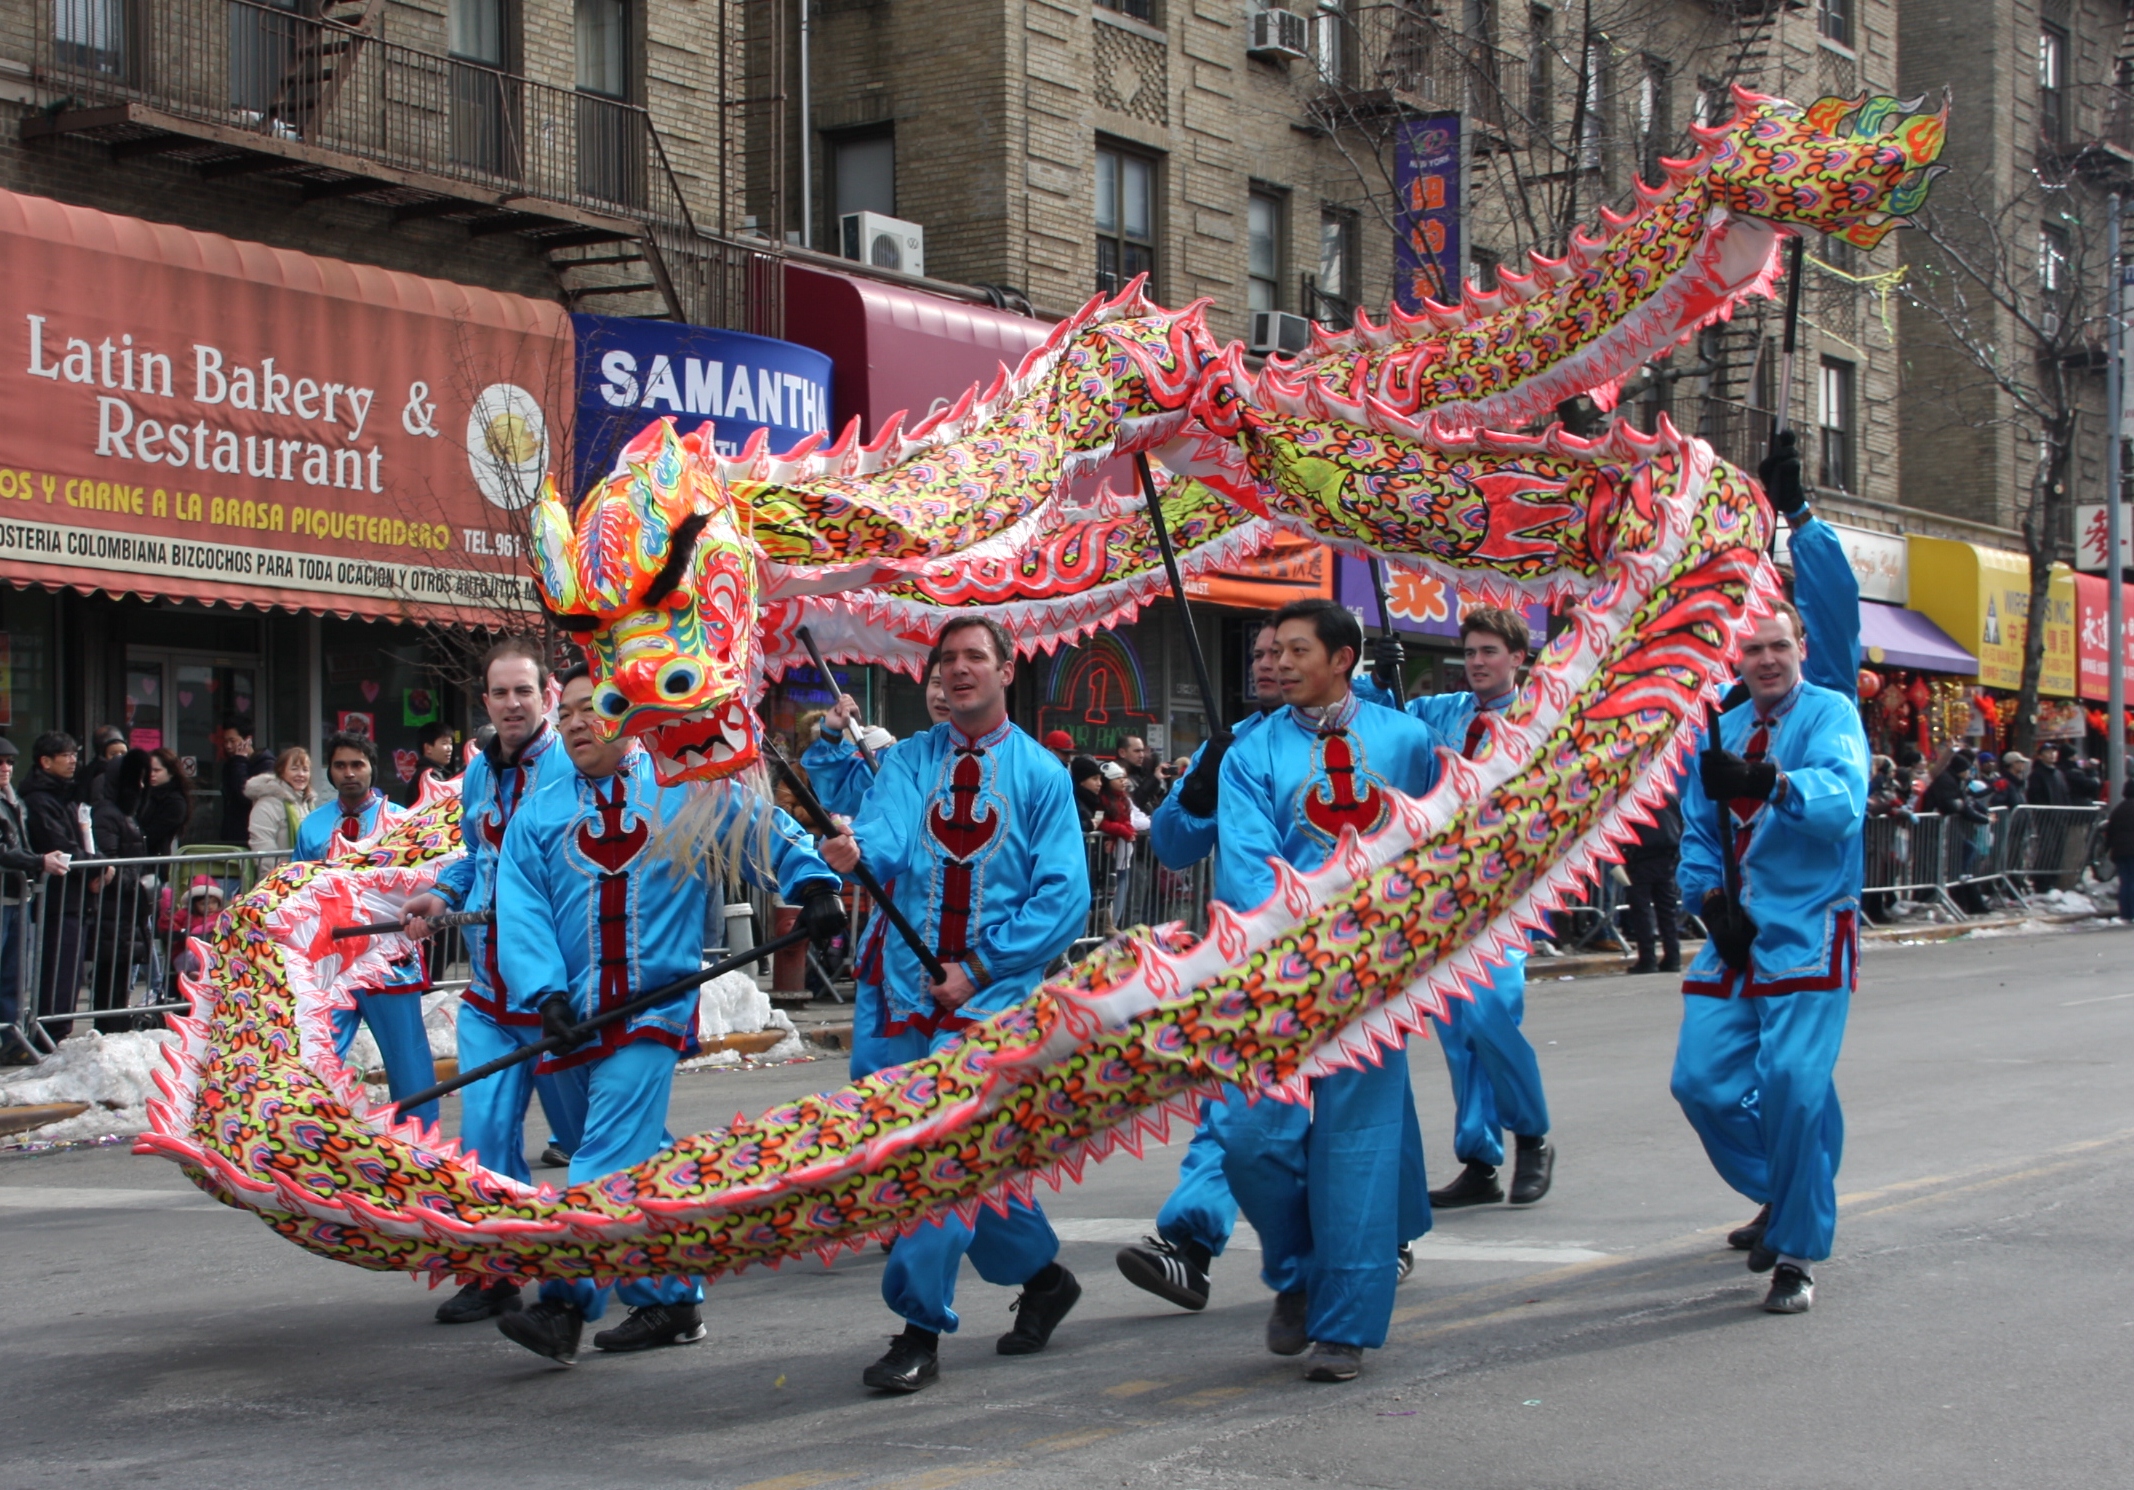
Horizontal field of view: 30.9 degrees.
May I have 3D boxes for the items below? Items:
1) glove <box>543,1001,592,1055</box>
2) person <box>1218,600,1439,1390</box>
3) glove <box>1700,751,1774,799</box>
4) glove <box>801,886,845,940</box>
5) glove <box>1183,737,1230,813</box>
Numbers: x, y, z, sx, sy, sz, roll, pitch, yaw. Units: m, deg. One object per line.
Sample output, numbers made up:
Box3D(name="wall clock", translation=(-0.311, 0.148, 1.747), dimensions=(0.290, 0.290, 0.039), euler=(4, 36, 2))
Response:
Box3D(name="glove", translation=(-2.393, 1.336, 18.352), dimensions=(0.208, 0.300, 0.320), euler=(-3, 8, -10))
Box3D(name="person", translation=(1.213, 1.111, 18.223), dimensions=(1.011, 3.536, 1.207), euler=(-1, 9, 7))
Box3D(name="glove", translation=(3.306, 0.144, 18.956), dimensions=(0.368, 0.253, 0.205), euler=(2, 9, 25))
Box3D(name="glove", translation=(-1.164, 0.773, 18.120), dimensions=(0.206, 0.245, 0.405), euler=(-2, 8, -3))
Box3D(name="glove", translation=(0.645, 0.129, 18.431), dimensions=(0.160, 0.324, 0.267), euler=(6, 13, -18))
